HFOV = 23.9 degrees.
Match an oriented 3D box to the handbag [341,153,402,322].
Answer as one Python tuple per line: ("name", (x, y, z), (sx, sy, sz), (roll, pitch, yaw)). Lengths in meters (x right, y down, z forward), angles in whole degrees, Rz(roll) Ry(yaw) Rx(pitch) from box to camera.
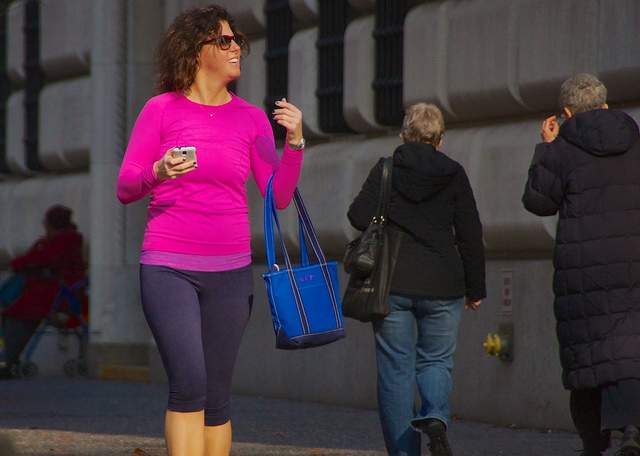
("handbag", (0.428, 0.086, 12.975), (0.520, 1.440, 0.199), (-1, -3, 0))

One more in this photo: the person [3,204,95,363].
("person", (-3.440, 0.670, 18.726), (1.237, 1.951, 0.601), (1, -4, -40))

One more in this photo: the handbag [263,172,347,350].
("handbag", (-0.175, 0.277, 12.269), (0.640, 1.488, 0.701), (0, 10, -20))

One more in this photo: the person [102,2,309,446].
("person", (-0.907, -0.030, 11.783), (1.323, 3.495, 0.566), (-1, -3, -11))
